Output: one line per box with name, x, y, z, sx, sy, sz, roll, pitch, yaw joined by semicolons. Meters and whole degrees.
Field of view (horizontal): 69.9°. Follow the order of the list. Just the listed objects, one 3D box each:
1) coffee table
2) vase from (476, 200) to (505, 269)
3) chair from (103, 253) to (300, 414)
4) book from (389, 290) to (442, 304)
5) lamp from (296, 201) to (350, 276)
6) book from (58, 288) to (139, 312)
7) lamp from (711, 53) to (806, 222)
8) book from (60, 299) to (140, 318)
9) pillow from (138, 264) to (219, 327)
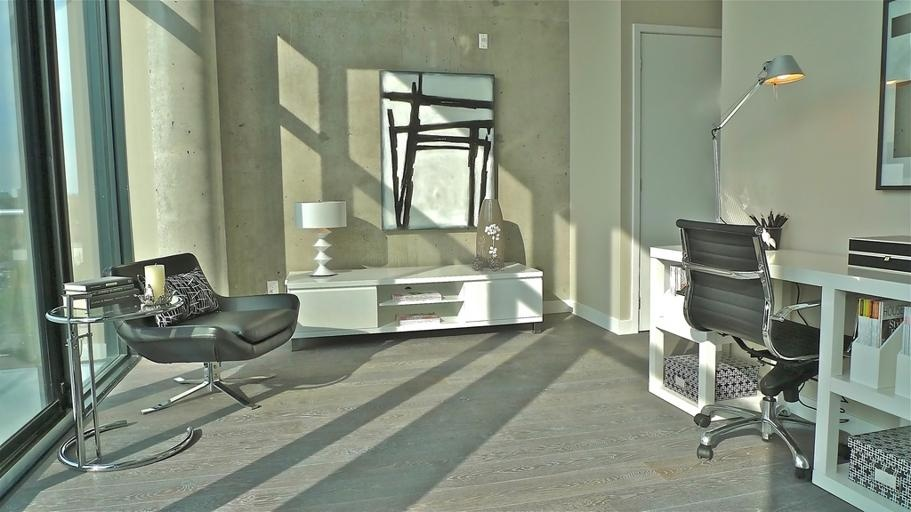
coffee table;-2.510;0.835;4.723;1.050;1.333;0.653;0;9;24
vase;0.329;-0.224;6.857;0.327;0.743;0.225;-4;9;0
chair;-2.057;0.577;5.511;1.312;0.953;1.407;7;9;23
book;-0.392;0.449;6.668;0.512;0.126;0.245;-3;6;-9
lamp;-1.355;-0.182;6.717;0.480;0.766;0.514;-5;8;-6
book;-2.461;0.311;4.559;0.462;0.133;0.134;-6;8;-28
lamp;2.402;-0.938;5.450;0.605;1.287;1.428;-4;7;1
book;-2.475;0.380;4.561;0.303;0.056;0.301;-1;-1;24
pillow;-2.356;0.345;5.553;0.168;0.440;0.533;-22;-3;34
